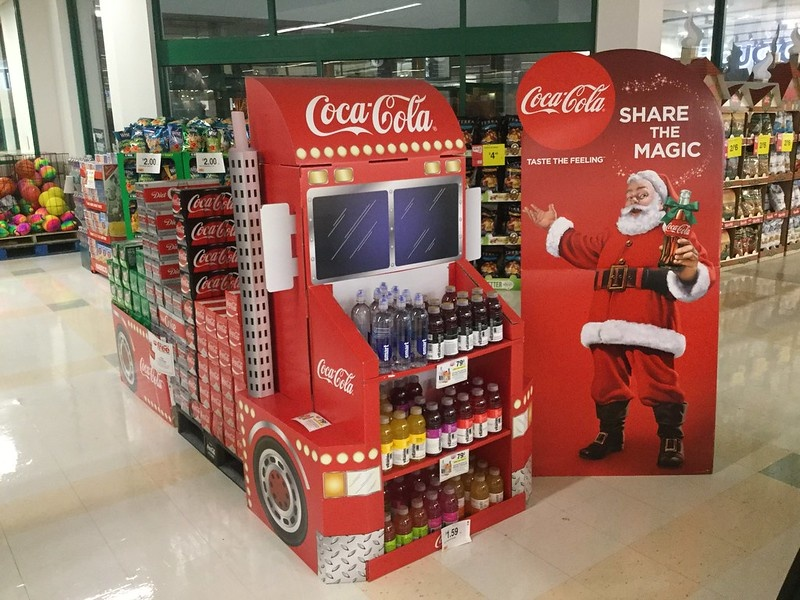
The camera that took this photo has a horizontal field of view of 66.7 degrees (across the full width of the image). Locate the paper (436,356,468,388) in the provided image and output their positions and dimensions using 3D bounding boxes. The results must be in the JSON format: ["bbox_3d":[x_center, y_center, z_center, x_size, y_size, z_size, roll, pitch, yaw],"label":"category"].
[{"bbox_3d":[0.297,0.415,3.558,0.021,0.128,0.208,10,18,44],"label":"paper"}]

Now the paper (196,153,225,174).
[{"bbox_3d":[-2.255,-1.634,7.258,0.192,0.219,0.320,-13,20,-36],"label":"paper"}]

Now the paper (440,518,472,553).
[{"bbox_3d":[0.325,1.413,3.628,0.182,0.122,0.013,-12,15,-35],"label":"paper"}]

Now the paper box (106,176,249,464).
[{"bbox_3d":[-1.649,0.217,4.571,0.699,1.555,1.819,-15,27,-35],"label":"paper box"}]

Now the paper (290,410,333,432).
[{"bbox_3d":[-0.500,0.700,3.490,0.166,0.024,0.208,-14,20,-31],"label":"paper"}]
